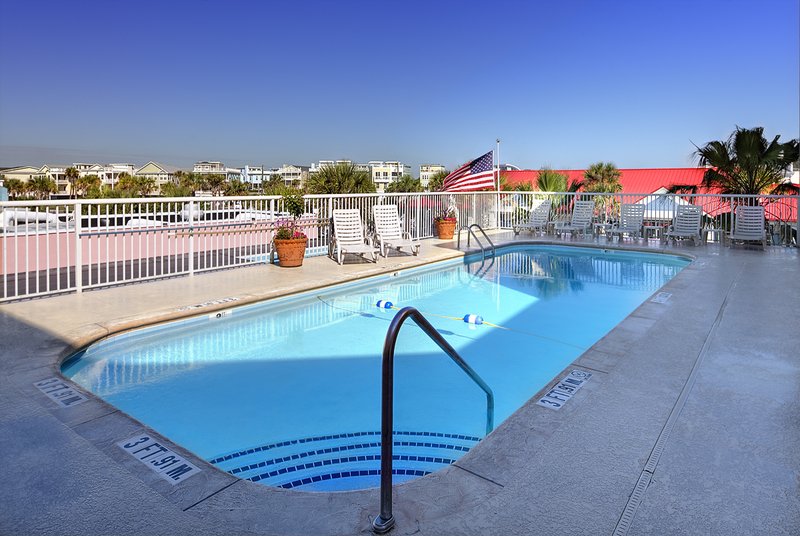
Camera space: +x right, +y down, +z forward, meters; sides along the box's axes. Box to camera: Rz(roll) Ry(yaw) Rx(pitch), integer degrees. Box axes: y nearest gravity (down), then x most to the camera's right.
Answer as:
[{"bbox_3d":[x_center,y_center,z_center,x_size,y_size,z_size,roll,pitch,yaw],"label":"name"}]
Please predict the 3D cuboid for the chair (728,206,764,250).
[{"bbox_3d":[9.480,-1.183,12.615,0.810,1.008,0.802,-7,7,-38],"label":"chair"}]

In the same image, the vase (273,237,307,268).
[{"bbox_3d":[-2.383,-0.351,10.017,0.667,0.516,0.658,0,-1,-3],"label":"vase"}]

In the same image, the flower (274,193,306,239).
[{"bbox_3d":[-2.479,-1.183,10.342,0.647,0.914,1.013,-2,14,-12],"label":"flower"}]

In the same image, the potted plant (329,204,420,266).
[{"bbox_3d":[-0.785,-0.842,11.488,2.133,1.159,1.591,-6,12,-30],"label":"potted plant"}]

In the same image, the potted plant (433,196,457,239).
[{"bbox_3d":[1.504,-1.661,15.061,0.654,1.261,1.123,5,15,15],"label":"potted plant"}]

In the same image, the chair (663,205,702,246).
[{"bbox_3d":[8.365,-1.354,13.575,0.809,1.003,1.071,10,16,31],"label":"chair"}]

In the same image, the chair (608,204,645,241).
[{"bbox_3d":[7.062,-1.490,14.457,1.066,1.103,0.740,5,15,16],"label":"chair"}]
